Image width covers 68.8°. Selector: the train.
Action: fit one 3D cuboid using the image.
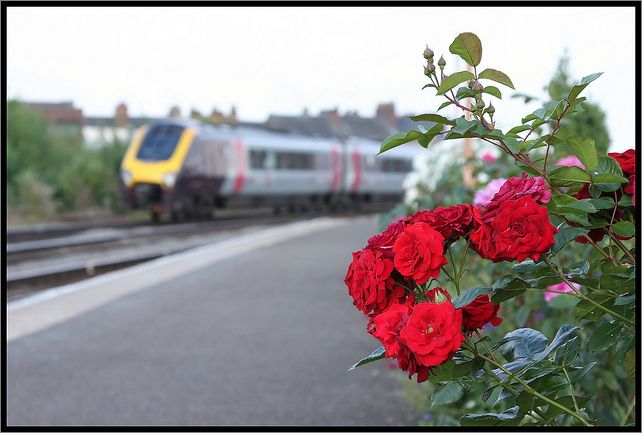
[{"bbox_3d":[0.175,-0.424,4.121,3.479,0.690,0.411,-3,28,-45],"label":"train"}]
